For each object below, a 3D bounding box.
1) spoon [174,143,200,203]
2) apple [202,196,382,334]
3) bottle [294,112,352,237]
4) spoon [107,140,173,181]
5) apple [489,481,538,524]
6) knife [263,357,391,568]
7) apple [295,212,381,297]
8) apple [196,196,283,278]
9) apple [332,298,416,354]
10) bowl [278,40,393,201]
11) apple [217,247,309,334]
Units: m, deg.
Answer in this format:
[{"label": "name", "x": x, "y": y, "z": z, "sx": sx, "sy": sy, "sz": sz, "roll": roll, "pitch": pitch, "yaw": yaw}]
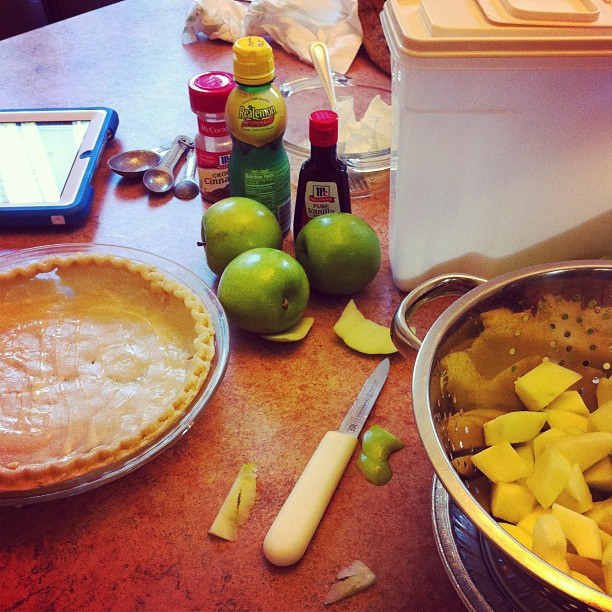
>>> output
[{"label": "spoon", "x": -0.217, "y": -0.248, "z": 1.120, "sx": 0.037, "sy": 0.024, "sz": 0.162, "roll": 2, "pitch": 42, "yaw": -6}, {"label": "apple", "x": -0.018, "y": -0.070, "z": 0.842, "sx": 0.217, "sy": 0.109, "sz": 0.173, "roll": -7, "pitch": 17, "yaw": -24}, {"label": "bottle", "x": 0.024, "y": -0.176, "z": 0.903, "sx": 0.090, "sy": 0.211, "sz": 0.053, "roll": -2, "pitch": 43, "yaw": -1}, {"label": "spoon", "x": -0.312, "y": -0.274, "z": 1.154, "sx": 0.047, "sy": 0.023, "sz": 0.140, "roll": 28, "pitch": 38, "yaw": 11}, {"label": "apple", "x": 0.192, "y": 0.183, "z": 0.580, "sx": 0.041, "sy": 0.037, "sz": 0.039, "roll": 0, "pitch": 19, "yaw": -9}, {"label": "knife", "x": 0.054, "y": 0.136, "z": 0.723, "sx": 0.052, "sy": 0.040, "sz": 0.326, "roll": 17, "pitch": 53, "yaw": 25}, {"label": "apple", "x": 0.051, "y": -0.073, "z": 0.867, "sx": 0.106, "sy": 0.117, "sz": 0.105, "roll": -18, "pitch": 12, "yaw": -40}, {"label": "apple", "x": -0.096, "y": -0.118, "z": 0.894, "sx": 0.119, "sy": 0.104, "sz": 0.103, "roll": -6, "pitch": 28, "yaw": -10}, {"label": "apple", "x": 0.084, "y": 0.027, "z": 0.828, "sx": 0.088, "sy": 0.029, "sz": 0.055, "roll": 25, "pitch": 47, "yaw": 19}, {"label": "bowl", "x": 0.054, "y": -0.394, "z": 1.229, "sx": 0.094, "sy": 0.183, "sz": 0.255, "roll": -11, "pitch": 17, "yaw": -8}, {"label": "apple", "x": -0.047, "y": -0.031, "z": 0.821, "sx": 0.115, "sy": 0.117, "sz": 0.122, "roll": -20, "pitch": 6, "yaw": -5}]
